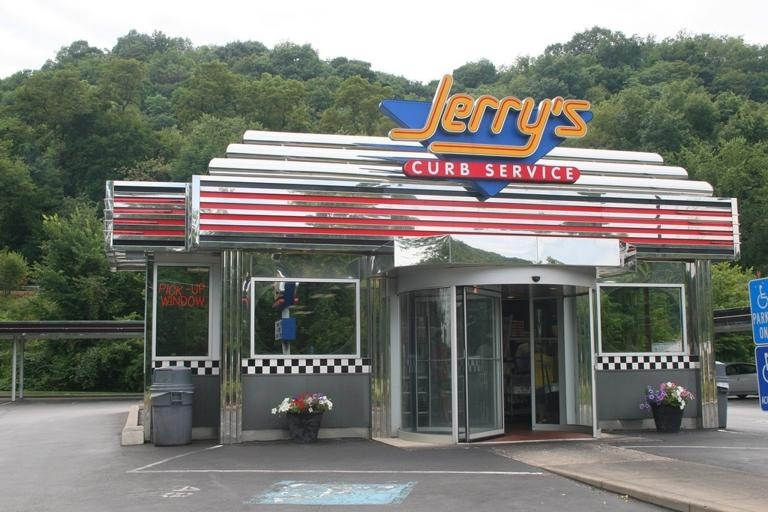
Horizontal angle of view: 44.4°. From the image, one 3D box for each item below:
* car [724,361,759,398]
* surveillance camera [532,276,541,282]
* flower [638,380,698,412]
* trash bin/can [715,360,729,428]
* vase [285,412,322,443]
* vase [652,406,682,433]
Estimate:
[{"bbox_3d":[15.957,5.559,42.017,1.348,1.708,1.033,2,9,19],"label":"car"},{"bbox_3d":[4.515,0.659,28.009,0.222,0.148,0.143,0,-7,-4],"label":"surveillance camera"},{"bbox_3d":[8.950,4.360,29.686,1.137,0.754,1.112,-2,4,-26],"label":"flower"},{"bbox_3d":[10.974,4.562,30.688,0.444,2.151,0.937,3,9,21],"label":"trash bin/can"},{"bbox_3d":[-2.408,5.130,28.330,1.019,0.871,0.379,-1,9,-5],"label":"vase"},{"bbox_3d":[8.908,5.122,29.703,0.902,0.616,0.874,-2,-12,18],"label":"vase"}]
